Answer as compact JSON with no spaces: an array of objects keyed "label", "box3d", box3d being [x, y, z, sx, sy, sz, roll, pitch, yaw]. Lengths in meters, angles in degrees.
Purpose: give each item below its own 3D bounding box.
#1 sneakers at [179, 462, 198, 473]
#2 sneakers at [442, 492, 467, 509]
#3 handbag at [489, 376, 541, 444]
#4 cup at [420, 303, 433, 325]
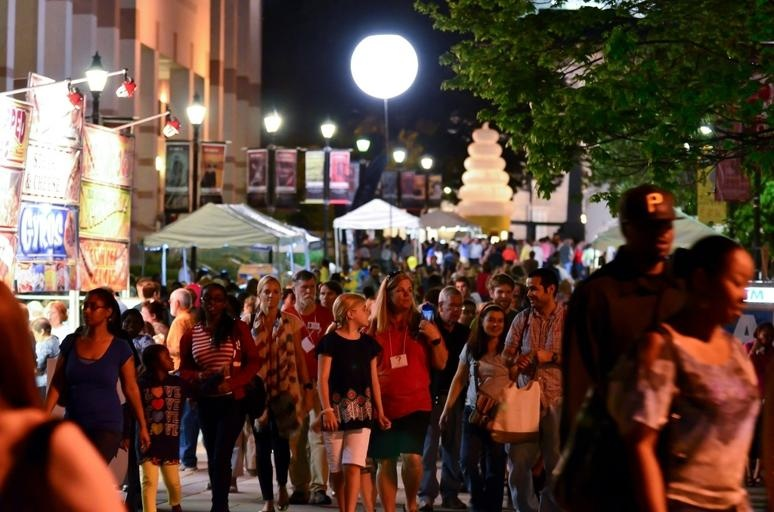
[{"label":"sneakers","box3d":[-2.599,2.785,13.603,0.175,0.072,0.104,-6,-5,44]},{"label":"sneakers","box3d":[0.747,2.742,11.503,0.126,0.110,0.240,6,-14,-37]},{"label":"handbag","box3d":[1.236,1.477,9.845,0.594,0.710,0.267,0,-6,6]},{"label":"cup","box3d":[0.447,0.625,11.658,0.134,0.258,0.142,1,-1,0]}]
